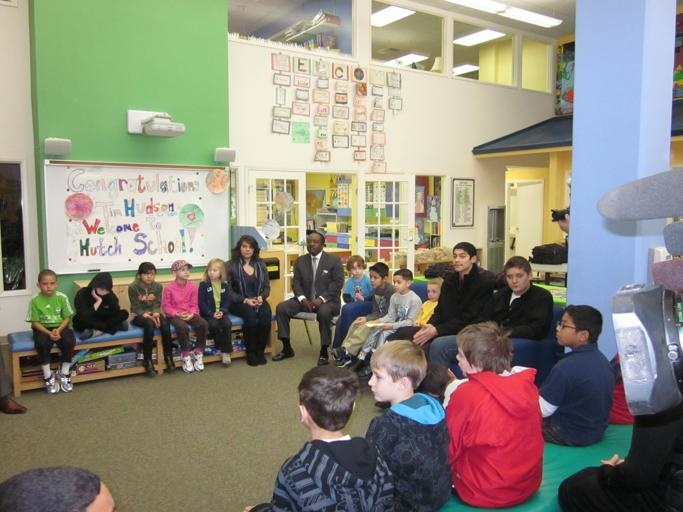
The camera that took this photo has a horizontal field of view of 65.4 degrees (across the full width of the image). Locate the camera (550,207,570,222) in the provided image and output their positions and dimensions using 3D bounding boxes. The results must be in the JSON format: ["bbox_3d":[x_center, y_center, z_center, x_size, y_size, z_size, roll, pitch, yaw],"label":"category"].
[{"bbox_3d":[2.169,-0.398,5.282,0.135,0.127,0.331,5,10,25],"label":"camera"}]

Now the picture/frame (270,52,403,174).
[{"bbox_3d":[-0.085,-2.217,8.391,2.260,1.731,0.251,-5,11,-31],"label":"picture/frame"}]

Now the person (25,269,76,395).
[{"bbox_3d":[-2.684,0.690,4.927,0.354,1.096,0.411,-5,12,-33],"label":"person"}]

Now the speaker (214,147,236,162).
[{"bbox_3d":[-1.476,-1.293,6.746,0.299,0.273,0.164,0,29,-15],"label":"speaker"}]

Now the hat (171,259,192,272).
[{"bbox_3d":[-1.705,0.118,5.570,0.185,0.089,0.139,-8,-3,35],"label":"hat"}]

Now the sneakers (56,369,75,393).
[{"bbox_3d":[-2.559,1.163,4.971,0.102,0.229,0.090,-40,-16,29],"label":"sneakers"}]

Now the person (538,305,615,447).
[{"bbox_3d":[1.442,0.719,3.494,0.616,0.840,0.646,1,6,14],"label":"person"}]

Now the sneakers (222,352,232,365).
[{"bbox_3d":[-1.226,1.091,5.674,0.089,0.124,0.040,0,-6,0],"label":"sneakers"}]

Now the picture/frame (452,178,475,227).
[{"bbox_3d":[2.248,-0.978,9.863,0.592,0.886,0.115,-6,12,-37],"label":"picture/frame"}]

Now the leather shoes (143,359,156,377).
[{"bbox_3d":[-1.924,1.120,5.321,0.085,0.149,0.211,-4,6,-41],"label":"leather shoes"}]

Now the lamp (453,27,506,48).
[{"bbox_3d":[2.573,-4.045,9.941,1.195,0.334,0.211,-5,11,-32],"label":"lamp"}]

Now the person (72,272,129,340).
[{"bbox_3d":[-2.367,0.442,5.383,0.550,0.759,0.586,7,9,39],"label":"person"}]

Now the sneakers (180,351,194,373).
[{"bbox_3d":[-1.583,1.093,5.467,0.089,0.241,0.104,-2,-29,-39],"label":"sneakers"}]

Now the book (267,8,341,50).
[{"bbox_3d":[-0.519,-3.485,8.229,0.848,0.259,0.616,4,-6,-38],"label":"book"}]

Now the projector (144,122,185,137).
[{"bbox_3d":[-2.085,-1.470,6.216,0.425,0.138,0.435,-3,10,-25],"label":"projector"}]

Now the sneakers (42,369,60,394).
[{"bbox_3d":[-2.683,1.179,4.903,0.086,0.260,0.115,-12,-22,-33],"label":"sneakers"}]

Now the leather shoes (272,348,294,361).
[{"bbox_3d":[-0.651,1.098,5.940,0.247,0.091,0.090,-1,2,-45],"label":"leather shoes"}]

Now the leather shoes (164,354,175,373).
[{"bbox_3d":[-1.759,1.096,5.430,0.079,0.165,0.235,-2,3,-24],"label":"leather shoes"}]

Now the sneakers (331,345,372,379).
[{"bbox_3d":[0.162,1.057,5.180,0.544,0.240,0.172,30,-14,-29],"label":"sneakers"}]

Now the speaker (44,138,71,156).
[{"bbox_3d":[-3.112,-1.199,5.823,0.251,0.169,0.131,-6,11,-35],"label":"speaker"}]

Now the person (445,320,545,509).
[{"bbox_3d":[0.799,0.841,2.789,0.522,0.840,0.471,4,10,19],"label":"person"}]

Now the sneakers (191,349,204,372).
[{"bbox_3d":[-1.495,1.088,5.549,0.090,0.230,0.101,-3,-14,-38],"label":"sneakers"}]
